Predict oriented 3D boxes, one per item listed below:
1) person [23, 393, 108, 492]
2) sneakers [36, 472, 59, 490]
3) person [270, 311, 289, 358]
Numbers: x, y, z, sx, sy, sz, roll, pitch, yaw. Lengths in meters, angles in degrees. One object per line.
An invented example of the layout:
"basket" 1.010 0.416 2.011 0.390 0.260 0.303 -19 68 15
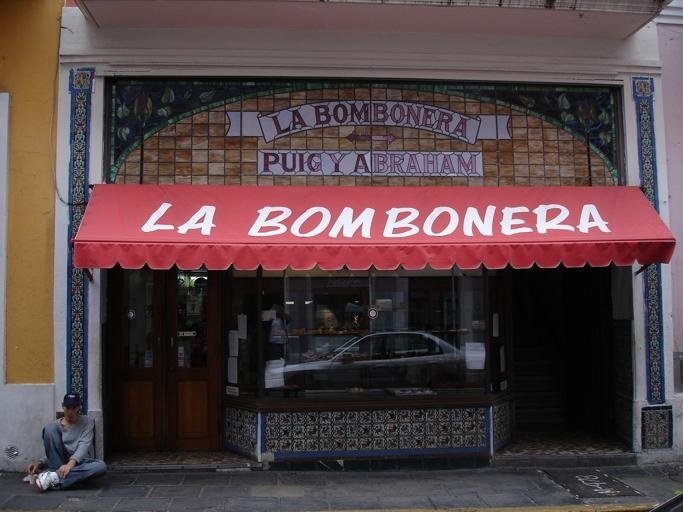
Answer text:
"person" -4.142 2.768 12.937 1.151 1.267 1.267 -4 -3 6
"sneakers" -4.265 3.266 12.508 0.213 0.145 0.428 -2 -1 -16
"person" -1.009 1.234 13.748 0.278 0.804 0.094 -1 -6 -9
